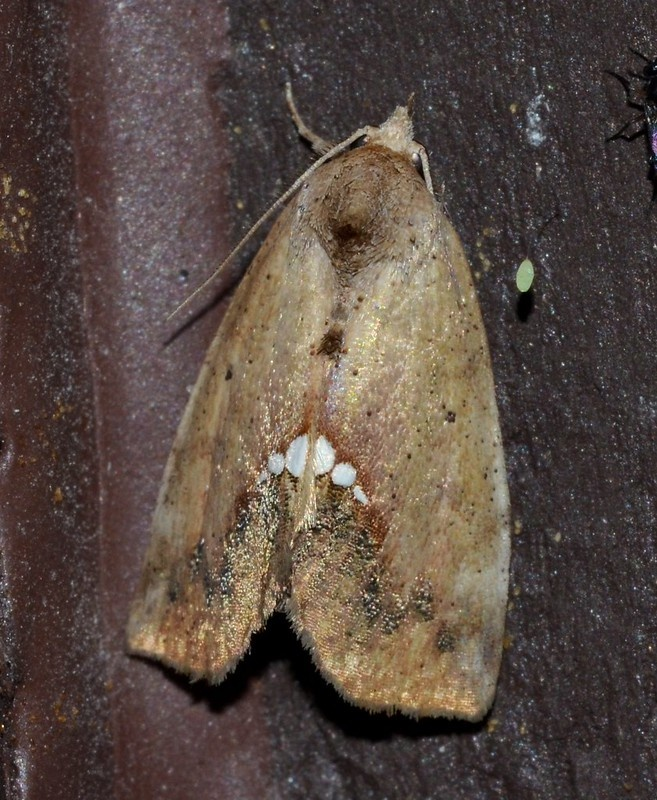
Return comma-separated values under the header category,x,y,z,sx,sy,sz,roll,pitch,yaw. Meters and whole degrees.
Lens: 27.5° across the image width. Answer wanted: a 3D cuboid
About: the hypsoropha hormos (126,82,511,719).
category,x,y,z,sx,sy,sz,roll,pitch,yaw
hypsoropha hormos,0.041,-0.102,3.177,0.717,1.603,1.310,-2,-69,-1
